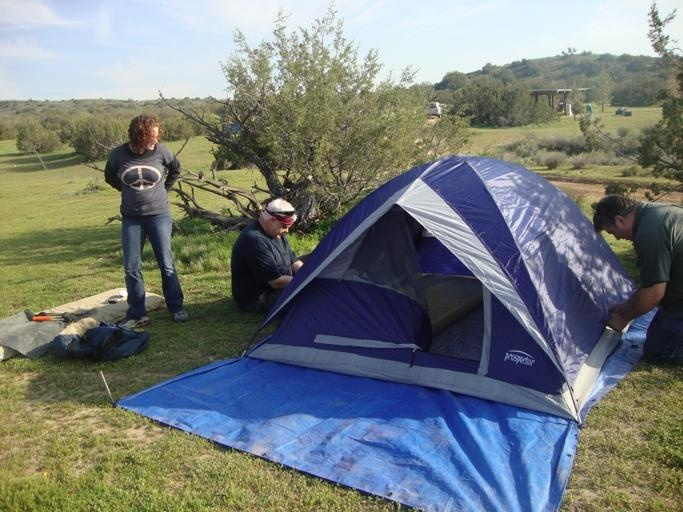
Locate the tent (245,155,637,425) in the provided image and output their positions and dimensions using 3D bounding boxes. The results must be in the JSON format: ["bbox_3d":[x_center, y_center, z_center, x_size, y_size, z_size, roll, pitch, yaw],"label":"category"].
[{"bbox_3d":[1.119,0.455,5.795,3.011,1.532,3.333,8,18,30],"label":"tent"}]

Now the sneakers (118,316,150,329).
[{"bbox_3d":[-2.558,0.848,6.856,0.394,0.160,0.141,2,2,-30],"label":"sneakers"}]
